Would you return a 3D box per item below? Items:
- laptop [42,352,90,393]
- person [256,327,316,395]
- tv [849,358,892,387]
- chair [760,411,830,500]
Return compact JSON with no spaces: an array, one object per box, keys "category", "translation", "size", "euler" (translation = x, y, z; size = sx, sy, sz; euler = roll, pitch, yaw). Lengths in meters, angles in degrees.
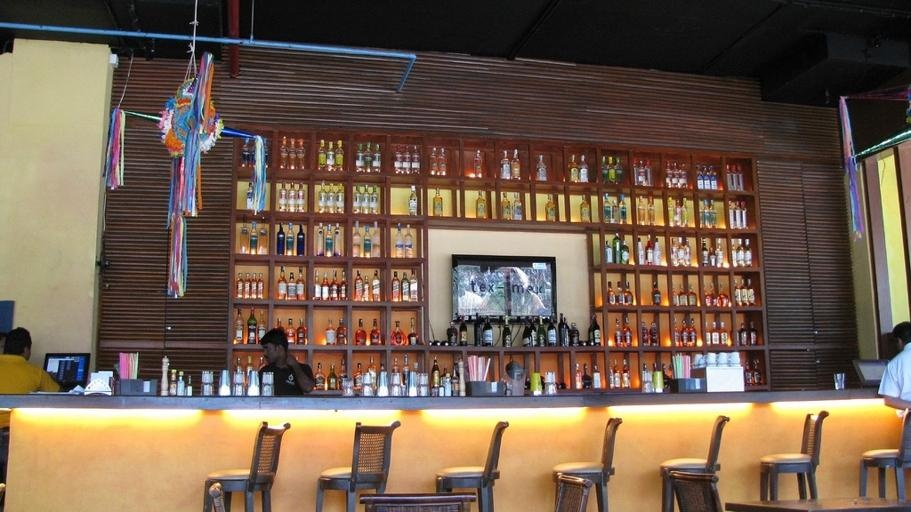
[{"category":"laptop","translation":[-4.478,1.366,9.681],"size":[0.395,0.419,0.538],"euler":[12,0,37]},{"category":"person","translation":[-1.923,1.207,9.493],"size":[0.588,0.704,0.272],"euler":[1,-10,-5]},{"category":"tv","translation":[4.896,1.357,9.787],"size":[0.404,0.275,0.315],"euler":[2,-19,4]},{"category":"chair","translation":[3.734,2.267,9.157],"size":[0.752,0.993,0.533],"euler":[-4,-8,10]}]
